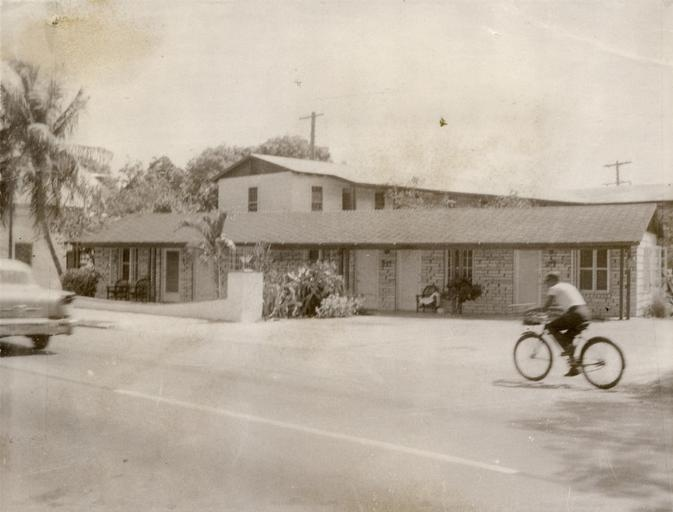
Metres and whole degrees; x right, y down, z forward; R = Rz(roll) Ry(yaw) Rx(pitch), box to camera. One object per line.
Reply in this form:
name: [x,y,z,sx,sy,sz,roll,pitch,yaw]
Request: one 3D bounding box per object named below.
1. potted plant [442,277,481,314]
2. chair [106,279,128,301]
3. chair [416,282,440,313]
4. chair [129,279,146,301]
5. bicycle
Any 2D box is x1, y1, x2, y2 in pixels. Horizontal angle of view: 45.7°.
potted plant: [3.812,1.122,24.743,0.933,1.358,1.221,-2,5,-19]
chair: [-8.175,1.269,29.991,0.717,1.198,0.755,0,-3,24]
chair: [3.014,1.324,25.661,0.799,1.192,0.755,-1,-3,37]
chair: [-7.245,1.279,29.699,0.603,1.008,0.716,0,-4,16]
bicycle: [3.908,1.546,13.389,1.957,1.385,1.007,3,7,37]
